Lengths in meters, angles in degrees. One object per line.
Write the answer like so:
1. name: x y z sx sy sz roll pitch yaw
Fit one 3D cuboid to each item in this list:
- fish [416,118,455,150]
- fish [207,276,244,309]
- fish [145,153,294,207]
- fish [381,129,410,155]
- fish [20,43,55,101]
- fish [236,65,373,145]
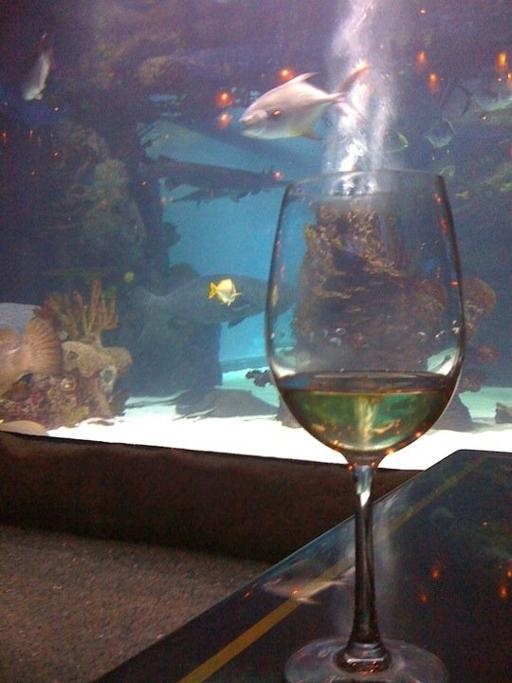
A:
1. fish: 1.552 -1.745 5.186 0.144 0.293 0.522 15 32 28
2. fish: -0.293 -0.462 5.884 0.295 0.255 0.224 10 -4 0
3. fish: -0.397 -1.581 6.037 1.322 0.560 0.560 -3 28 -3
4. fish: 1.110 -1.580 4.894 0.273 0.200 0.068 -21 33 -32
5. fish: -1.788 -2.174 5.000 0.086 0.367 0.241 36 34 27
6. fish: 0.333 -1.740 4.533 0.884 0.499 0.325 0 28 2
